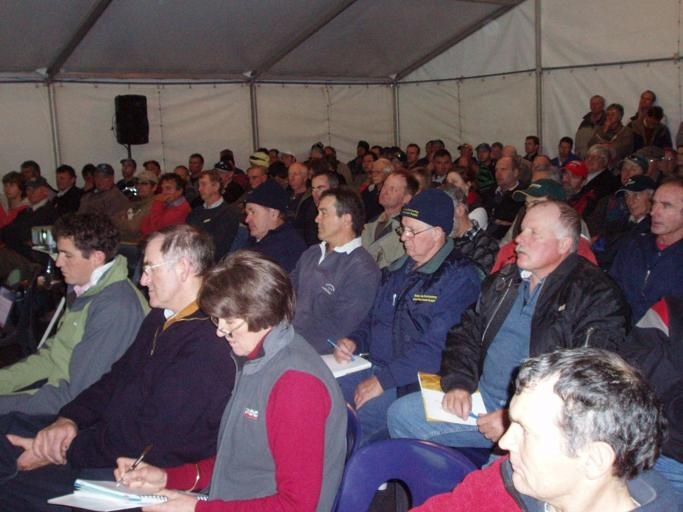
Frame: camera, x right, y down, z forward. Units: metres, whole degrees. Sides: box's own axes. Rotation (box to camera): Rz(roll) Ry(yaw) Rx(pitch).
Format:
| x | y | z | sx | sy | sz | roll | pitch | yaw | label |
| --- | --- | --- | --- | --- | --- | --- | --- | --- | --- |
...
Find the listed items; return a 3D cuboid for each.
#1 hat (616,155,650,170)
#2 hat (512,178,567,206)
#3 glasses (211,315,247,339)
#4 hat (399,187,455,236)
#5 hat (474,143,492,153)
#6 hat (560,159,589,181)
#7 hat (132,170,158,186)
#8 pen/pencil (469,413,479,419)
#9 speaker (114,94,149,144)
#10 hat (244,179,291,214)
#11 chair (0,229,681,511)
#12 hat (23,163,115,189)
| x | y | z | sx | sy | sz | roll | pitch | yaw | label |
| --- | --- | --- | --- | --- | --- | --- | --- | --- | --- |
| 3.107 | -0.996 | 6.659 | 0.247 | 0.183 | 0.264 | 0 | 4 | 25 | hat |
| 1.596 | -0.532 | 5.074 | 0.374 | 0.191 | 0.233 | 0 | 5 | -10 | hat |
| -0.551 | 0.350 | 3.062 | 0.191 | 0.110 | 0.063 | 1 | 4 | 32 | glasses |
| 0.597 | -0.308 | 4.265 | 0.348 | 0.299 | 0.260 | -2 | 13 | -15 | hat |
| 2.404 | -1.818 | 10.580 | 0.222 | 0.214 | 0.328 | -1 | 4 | 12 | hat |
| 2.535 | -0.927 | 6.740 | 0.231 | 0.178 | 0.388 | 3 | -3 | 34 | hat |
| -2.779 | -1.123 | 9.085 | 0.179 | 0.137 | 0.259 | 8 | -7 | 13 | hat |
| 0.774 | 0.930 | 3.663 | 0.017 | 0.023 | 0.074 | 2 | 16 | -18 | pen/pencil |
| -3.671 | -2.398 | 10.981 | 0.573 | 0.873 | 0.407 | -3 | 3 | -21 | speaker |
| -0.651 | -0.535 | 5.626 | 0.339 | 0.232 | 0.254 | 12 | 12 | -29 | hat |
| -0.093 | 0.531 | 3.789 | 4.018 | 1.628 | 1.781 | -3 | 4 | -12 | chair |
| -4.613 | -1.354 | 10.289 | 1.155 | 0.443 | 1.005 | -4 | 4 | -27 | hat |
